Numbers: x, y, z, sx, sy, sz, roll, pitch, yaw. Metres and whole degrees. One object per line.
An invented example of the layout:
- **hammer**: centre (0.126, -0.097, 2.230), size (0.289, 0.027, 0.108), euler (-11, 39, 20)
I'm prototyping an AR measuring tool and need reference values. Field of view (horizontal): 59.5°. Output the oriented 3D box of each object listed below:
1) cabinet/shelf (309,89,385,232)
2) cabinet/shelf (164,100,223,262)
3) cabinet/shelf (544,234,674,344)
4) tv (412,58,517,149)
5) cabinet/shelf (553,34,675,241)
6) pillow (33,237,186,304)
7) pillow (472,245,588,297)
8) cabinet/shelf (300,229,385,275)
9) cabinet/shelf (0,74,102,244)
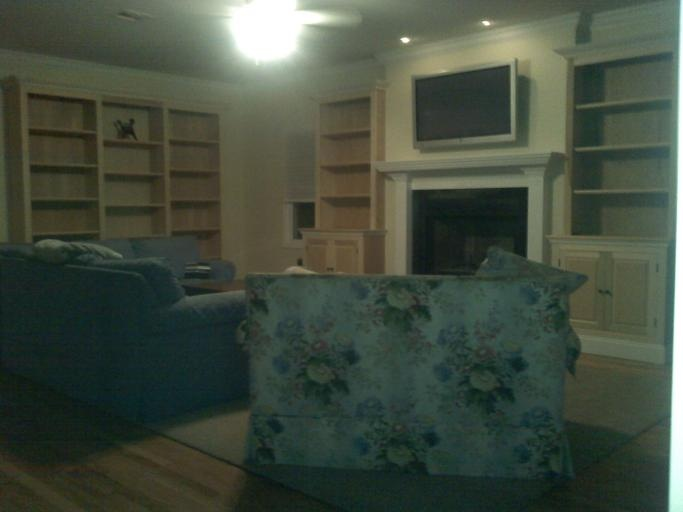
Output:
- **cabinet/shelf**: centre (0.114, -1.075, 6.728), size (0.825, 1.525, 0.434), euler (3, 5, 39)
- **cabinet/shelf**: centre (-1.922, -1.021, 7.634), size (0.727, 2.002, 0.247), euler (2, -6, -37)
- **cabinet/shelf**: centre (2.219, 0.274, 4.958), size (0.919, 0.882, 0.351), euler (3, 5, 37)
- **tv**: centre (1.237, -1.486, 5.832), size (0.942, 0.657, 0.100), euler (4, 9, 38)
- **cabinet/shelf**: centre (2.312, -0.959, 5.051), size (0.910, 1.587, 0.553), euler (2, 4, 28)
- **pillow**: centre (-1.477, 0.096, 3.784), size (1.011, 0.370, 0.349), euler (2, 5, 31)
- **pillow**: centre (0.978, 0.032, 3.057), size (0.446, 0.131, 0.289), euler (10, 44, 26)
- **cabinet/shelf**: centre (0.016, -0.055, 6.509), size (0.914, 0.463, 0.448), euler (0, 4, 2)
- **cabinet/shelf**: centre (-3.145, -1.026, 6.517), size (0.936, 1.705, 0.431), euler (-3, 5, -40)
